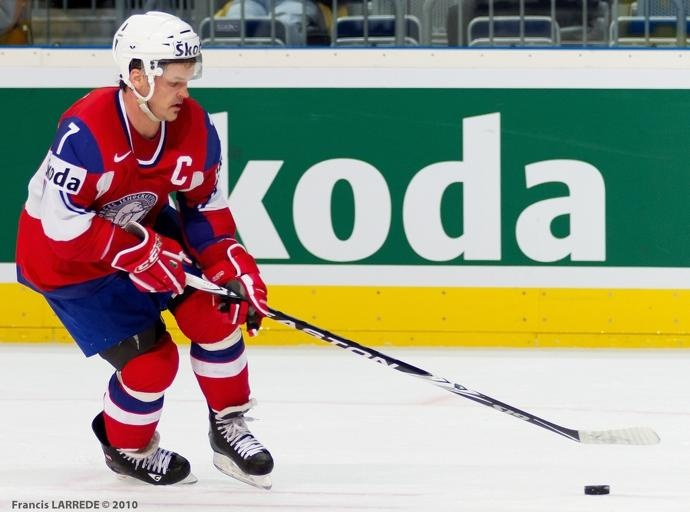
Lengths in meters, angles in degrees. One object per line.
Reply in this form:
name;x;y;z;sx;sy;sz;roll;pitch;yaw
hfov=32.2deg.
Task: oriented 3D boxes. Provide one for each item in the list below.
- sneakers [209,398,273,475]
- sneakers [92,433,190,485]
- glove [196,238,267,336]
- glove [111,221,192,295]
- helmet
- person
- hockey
sneakers;-0.427;0.771;5.159;0.166;0.264;0.389;-18;16;-29
sneakers;-0.856;0.873;5.116;0.435;0.188;0.158;6;36;3
glove;-0.410;0.119;5.074;0.393;0.239;0.158;45;16;4
glove;-0.818;0.009;4.914;0.326;0.225;0.137;37;-14;-18
helmet;-0.766;-0.850;4.816;0.326;0.318;0.265;-1;10;8
person;-0.832;-0.017;4.975;1.027;1.968;0.374;-1;10;-5
hockey;0.455;0.491;5.906;1.455;0.159;0.173;26;-25;4
